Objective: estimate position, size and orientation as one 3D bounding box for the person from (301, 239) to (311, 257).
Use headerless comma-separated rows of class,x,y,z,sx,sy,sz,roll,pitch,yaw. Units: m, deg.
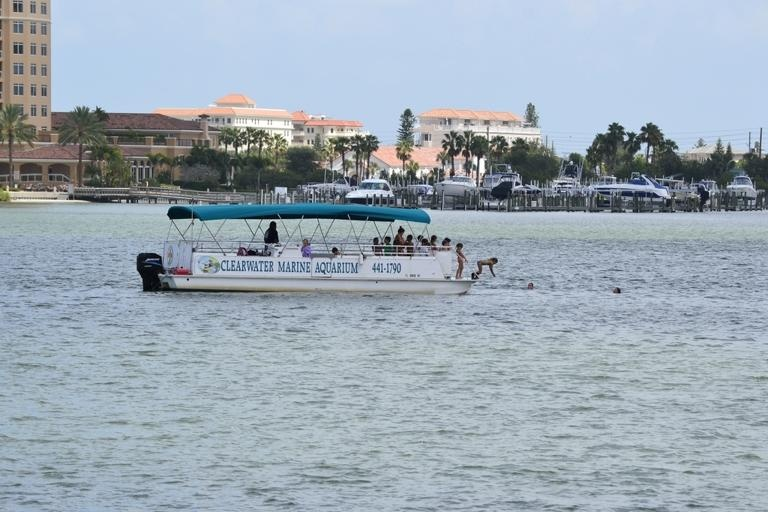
person,-3.776,-0.445,91.134,0.488,0.875,1.573,1,2,-3
